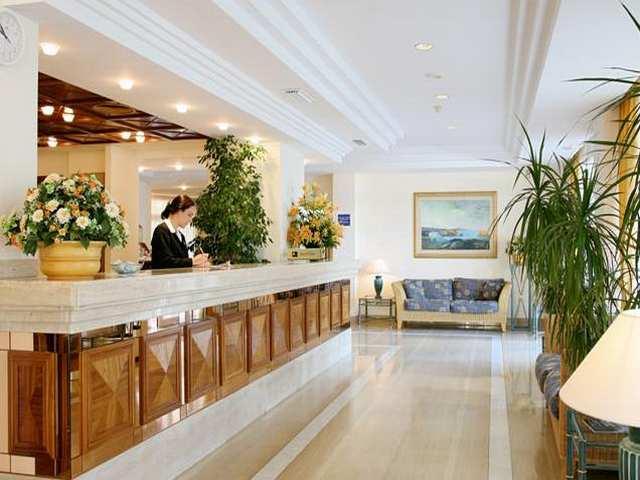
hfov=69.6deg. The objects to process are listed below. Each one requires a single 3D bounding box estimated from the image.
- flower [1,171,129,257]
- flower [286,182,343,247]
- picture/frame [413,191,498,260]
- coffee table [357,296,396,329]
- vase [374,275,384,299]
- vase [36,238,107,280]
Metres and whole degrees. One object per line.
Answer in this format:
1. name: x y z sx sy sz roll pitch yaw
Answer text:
1. flower: -1.681 -0.136 3.193 0.687 0.594 0.592 0 -8 13
2. flower: -0.168 -0.361 7.251 0.681 0.962 0.863 0 0 -38
3. picture/frame: 3.185 -0.349 10.700 1.551 1.329 0.081 0 -3 9
4. coffee table: 1.276 1.724 10.830 0.640 0.498 0.667 0 -6 15
5. vase: 1.369 1.105 10.895 0.221 0.551 0.501 0 0 8
6. vase: -1.703 0.148 3.197 0.438 0.226 0.449 1 -4 -43
